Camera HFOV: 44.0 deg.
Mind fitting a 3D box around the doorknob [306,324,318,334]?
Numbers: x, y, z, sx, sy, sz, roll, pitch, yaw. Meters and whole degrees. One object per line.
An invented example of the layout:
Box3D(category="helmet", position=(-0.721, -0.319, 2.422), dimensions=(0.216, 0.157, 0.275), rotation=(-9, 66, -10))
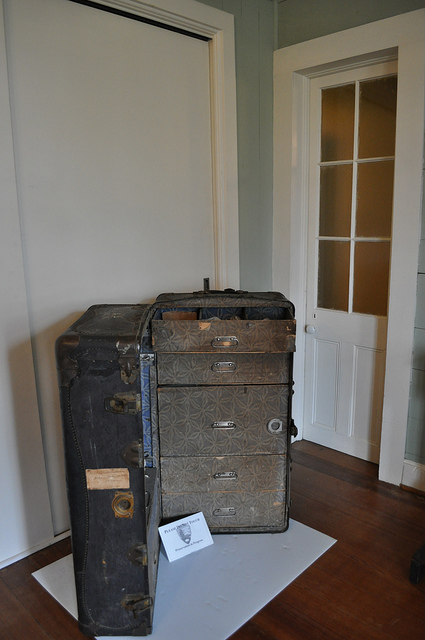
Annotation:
Box3D(category="doorknob", position=(0.547, 0.052, 2.898), dimensions=(0.069, 0.072, 0.037), rotation=(3, -1, -4))

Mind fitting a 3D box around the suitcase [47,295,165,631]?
Box3D(category="suitcase", position=(-0.318, 0.469, 1.761), dimensions=(0.299, 0.972, 0.482), rotation=(-2, 10, -5))
